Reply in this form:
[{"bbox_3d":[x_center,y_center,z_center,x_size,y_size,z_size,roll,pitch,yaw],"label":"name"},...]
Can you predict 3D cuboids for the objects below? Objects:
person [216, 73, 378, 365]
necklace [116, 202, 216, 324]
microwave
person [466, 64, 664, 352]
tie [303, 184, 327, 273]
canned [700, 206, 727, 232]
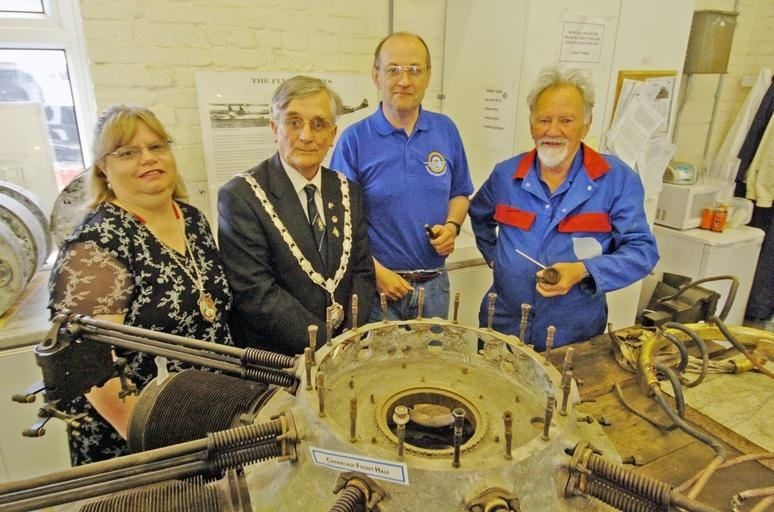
[{"bbox_3d":[-0.381,-0.160,2.170,0.696,1.155,0.547,-9,23,-18],"label":"person"},{"bbox_3d":[-0.936,0.050,2.164,0.325,0.095,0.559,-7,61,-47],"label":"necklace"},{"bbox_3d":[2.464,-0.385,4.075,0.638,0.390,0.390,-13,24,-30],"label":"microwave"},{"bbox_3d":[0.886,-0.238,2.525,0.704,1.311,0.688,-6,23,-13],"label":"person"},{"bbox_3d":[-0.328,-0.111,2.270,0.072,0.420,0.060,2,-18,-28],"label":"tie"},{"bbox_3d":[2.609,-0.298,3.976,0.138,0.201,0.166,-4,22,-9],"label":"canned"}]
